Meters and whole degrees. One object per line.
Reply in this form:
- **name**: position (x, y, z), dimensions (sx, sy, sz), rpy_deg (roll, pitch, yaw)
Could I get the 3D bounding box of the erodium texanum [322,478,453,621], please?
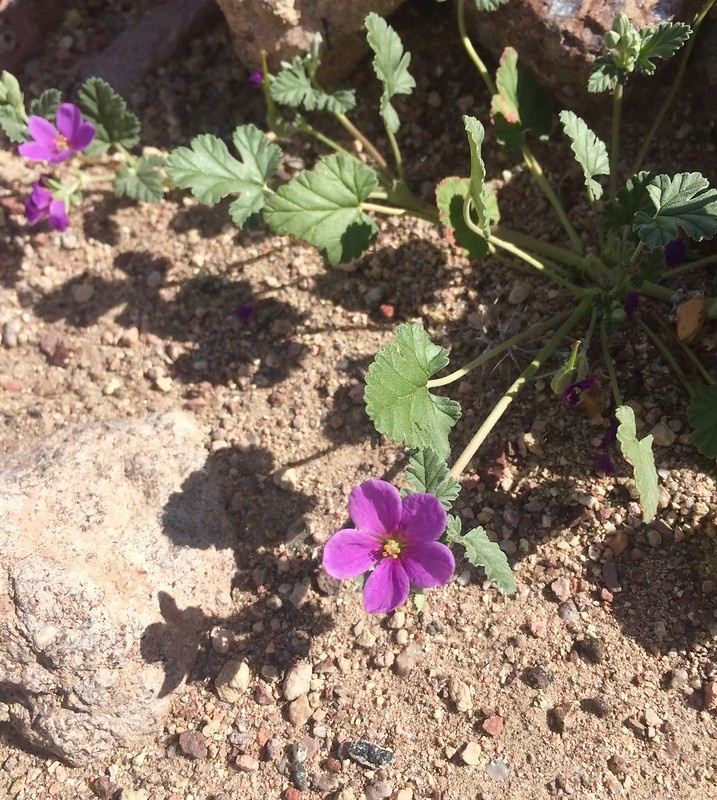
- **erodium texanum**: position (0.103, 0.406, 2.401), dimensions (0.422, 0.393, 0.167), rpy_deg (9, -3, 9)
